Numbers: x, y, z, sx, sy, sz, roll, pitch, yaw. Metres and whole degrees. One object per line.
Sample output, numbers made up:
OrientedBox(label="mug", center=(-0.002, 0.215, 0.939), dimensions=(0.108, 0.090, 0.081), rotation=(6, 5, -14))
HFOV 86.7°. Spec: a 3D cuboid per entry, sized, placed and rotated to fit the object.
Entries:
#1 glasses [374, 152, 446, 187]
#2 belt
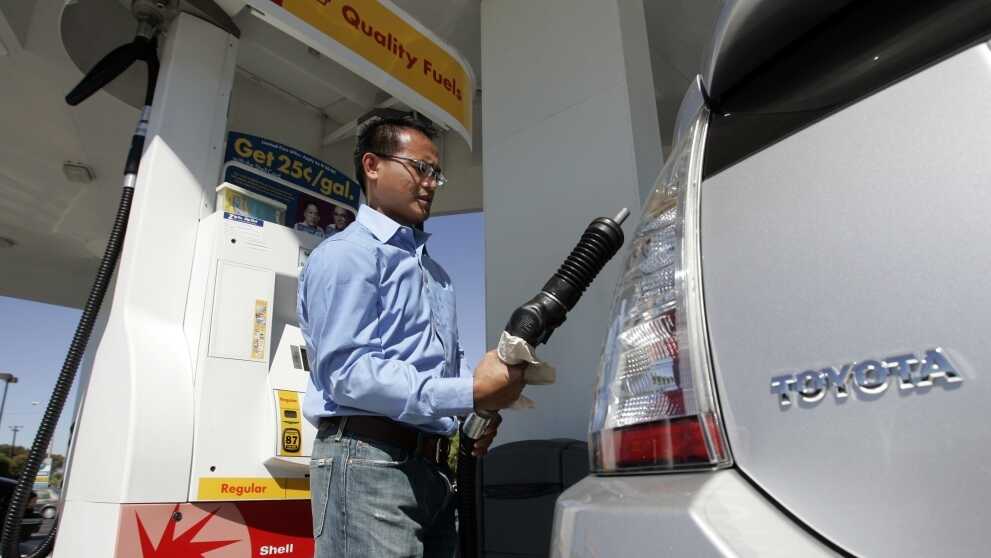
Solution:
OrientedBox(label="glasses", center=(-0.310, -0.454, 2.028), dimensions=(0.159, 0.042, 0.152), rotation=(19, -2, 29))
OrientedBox(label="belt", center=(-0.342, 0.500, 1.710), dimensions=(0.250, 0.060, 0.233), rotation=(19, -13, -16))
